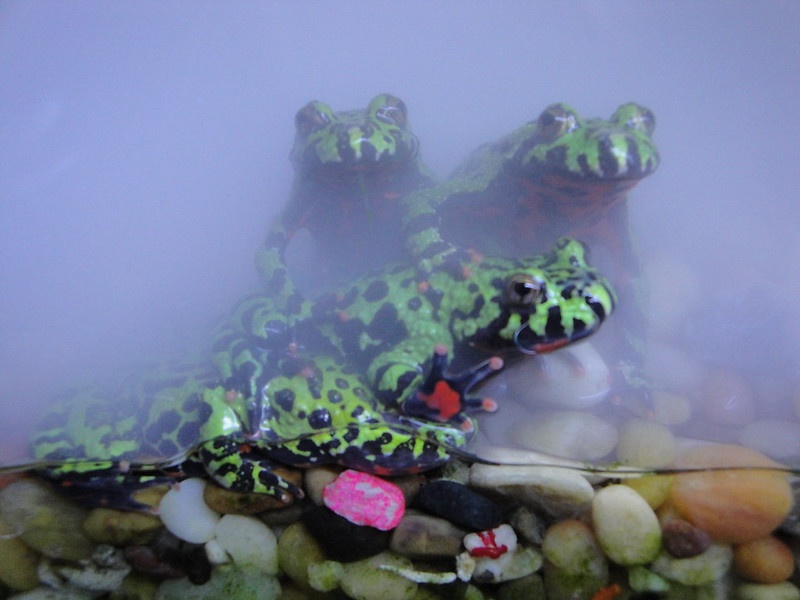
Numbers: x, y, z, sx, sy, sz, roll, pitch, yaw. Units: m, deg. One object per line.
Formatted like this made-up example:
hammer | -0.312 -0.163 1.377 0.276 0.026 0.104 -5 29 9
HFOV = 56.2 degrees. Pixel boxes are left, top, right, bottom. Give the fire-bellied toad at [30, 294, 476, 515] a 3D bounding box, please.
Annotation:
fire-bellied toad | -0.301 0.234 1.846 0.929 0.351 0.626 3 6 -5

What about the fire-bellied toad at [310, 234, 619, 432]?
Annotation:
fire-bellied toad | 0.127 0.065 1.670 0.665 0.394 0.167 3 8 20

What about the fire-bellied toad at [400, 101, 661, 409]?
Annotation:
fire-bellied toad | 0.356 -0.267 1.882 0.529 0.535 0.765 -5 25 -14
